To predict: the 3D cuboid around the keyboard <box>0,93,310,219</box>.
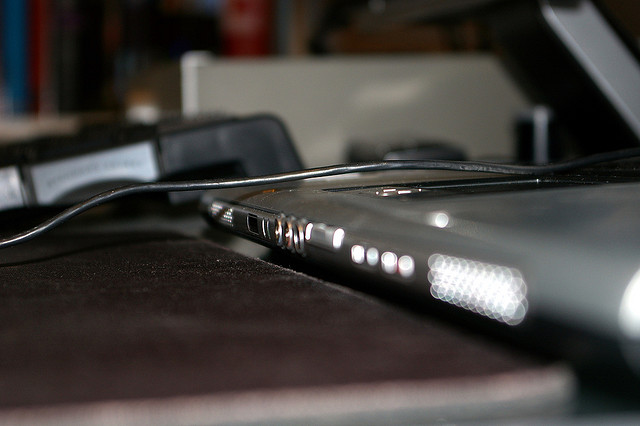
[{"bbox_3d":[-0.226,-0.085,0.762,0.411,0.113,0.423,-2,8,-30],"label":"keyboard"}]
